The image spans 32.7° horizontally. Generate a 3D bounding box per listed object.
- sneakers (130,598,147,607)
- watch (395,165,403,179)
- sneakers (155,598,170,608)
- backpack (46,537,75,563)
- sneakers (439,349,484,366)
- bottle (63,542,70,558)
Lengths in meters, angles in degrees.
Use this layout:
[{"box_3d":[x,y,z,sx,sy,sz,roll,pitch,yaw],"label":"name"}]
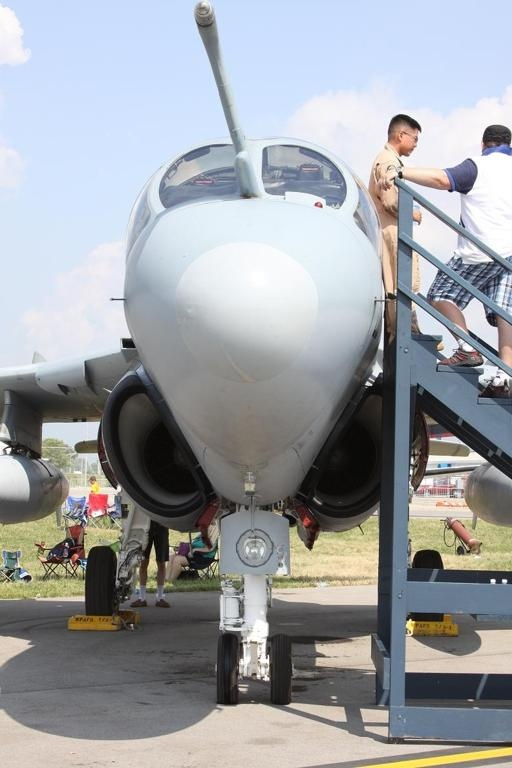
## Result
[{"box_3d":[-1.619,3.031,12.080,0.109,0.107,0.284,-4,-14,18],"label":"sneakers"},{"box_3d":[0.899,-1.331,5.418,0.036,0.101,0.080,1,-1,12],"label":"watch"},{"box_3d":[-1.313,3.074,12.194,0.100,0.096,0.252,1,-15,-18],"label":"sneakers"},{"box_3d":[-3.287,2.825,14.420,0.188,0.321,0.421,16,-44,-37],"label":"backpack"},{"box_3d":[1.297,-0.165,5.443,0.244,0.109,0.312,-2,10,3],"label":"sneakers"},{"box_3d":[-3.127,2.748,14.315,0.080,0.212,0.093,1,5,-6],"label":"bottle"}]
